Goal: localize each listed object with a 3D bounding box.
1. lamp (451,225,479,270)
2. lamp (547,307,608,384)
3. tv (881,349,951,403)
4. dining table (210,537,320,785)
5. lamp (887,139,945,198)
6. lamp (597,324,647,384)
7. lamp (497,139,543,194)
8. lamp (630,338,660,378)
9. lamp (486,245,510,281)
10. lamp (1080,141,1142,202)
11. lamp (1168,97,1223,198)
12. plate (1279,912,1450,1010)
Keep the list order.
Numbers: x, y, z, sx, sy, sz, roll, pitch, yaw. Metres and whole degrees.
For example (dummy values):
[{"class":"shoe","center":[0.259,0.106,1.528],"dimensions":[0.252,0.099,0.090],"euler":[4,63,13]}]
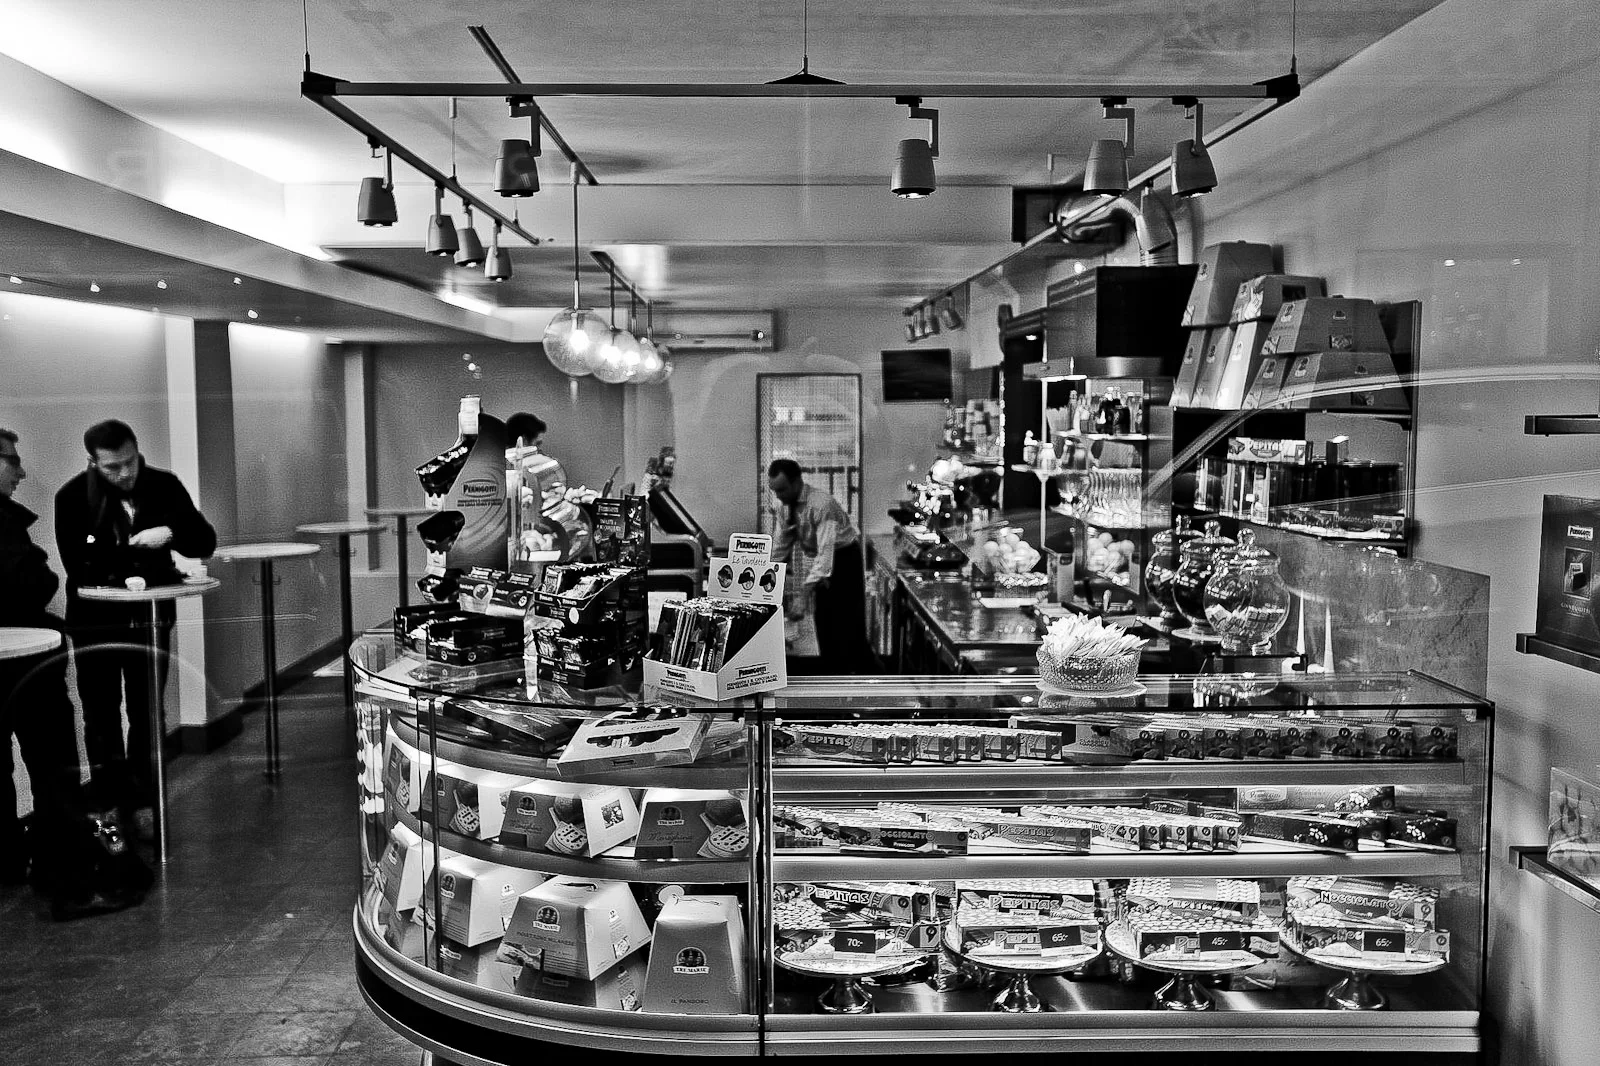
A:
[{"class":"lamp","center":[-1.897,-1.643,7.896],"dimensions":[0.219,0.218,0.212],"euler":[-4,-3,-15]},{"class":"lamp","center":[-1.289,-1.107,8.013],"dimensions":[0.393,0.381,0.374],"euler":[1,2,-28]},{"class":"tv","center":[0.665,-0.892,7.855],"dimensions":[0.354,0.224,0.043],"euler":[0,-9,1]},{"class":"dining table","center":[-3.209,0.727,8.447],"dimensions":[0.403,1.369,0.462],"euler":[2,5,25]},{"class":"lamp","center":[0.526,-1.712,6.587],"dimensions":[0.313,0.276,0.297],"euler":[1,1,3]},{"class":"lamp","center":[-1.039,-1.060,8.092],"dimensions":[0.325,0.325,0.306],"euler":[2,0,0]},{"class":"lamp","center":[-1.300,-1.680,6.352],"dimensions":[0.266,0.241,0.206],"euler":[1,1,-16]},{"class":"lamp","center":[-0.884,-1.023,8.084],"dimensions":[0.181,0.258,0.092],"euler":[0,5,3]},{"class":"lamp","center":[-1.760,-1.583,8.062],"dimensions":[0.163,0.192,0.227],"euler":[-1,5,-12]},{"class":"lamp","center":[1.400,-1.684,6.466],"dimensions":[0.292,0.253,0.230],"euler":[1,1,-43]},{"class":"lamp","center":[1.856,-1.834,6.526],"dimensions":[0.179,0.528,0.900],"euler":[1,5,16]},{"class":"plate","center":[2.142,1.601,5.273],"dimensions":[0.405,0.196,0.380],"euler":[-1,1,6]}]
